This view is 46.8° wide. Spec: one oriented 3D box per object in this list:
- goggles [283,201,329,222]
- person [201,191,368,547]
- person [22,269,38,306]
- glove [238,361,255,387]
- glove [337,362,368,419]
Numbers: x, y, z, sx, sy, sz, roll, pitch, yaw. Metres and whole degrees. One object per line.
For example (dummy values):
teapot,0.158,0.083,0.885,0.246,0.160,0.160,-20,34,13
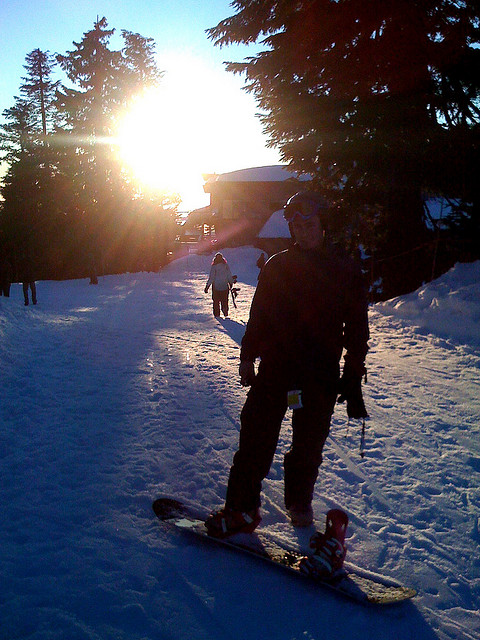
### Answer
goggles,0.378,-0.638,3.267,0.258,0.123,0.137,4,12,6
person,0.281,0.296,3.277,0.889,2.068,0.433,0,12,-14
person,-5.602,-0.858,14.850,0.362,0.920,2.414,-1,12,-20
glove,0.032,0.330,3.327,0.092,0.175,0.155,3,12,0
glove,0.660,0.419,3.314,0.178,0.365,0.156,6,12,12
